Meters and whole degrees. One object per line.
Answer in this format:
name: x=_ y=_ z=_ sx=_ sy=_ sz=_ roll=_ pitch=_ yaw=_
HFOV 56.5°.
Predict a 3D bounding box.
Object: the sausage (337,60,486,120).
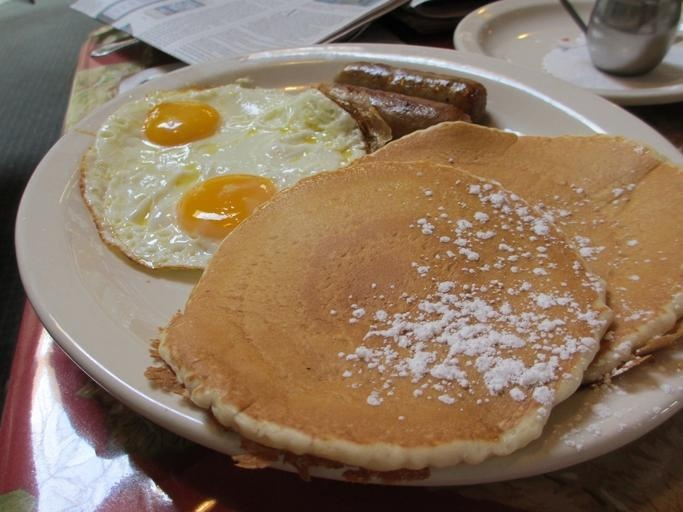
sausage: x=0.246 y=-0.588 z=2.180 sx=0.648 sy=0.137 sz=0.168 roll=12 pitch=37 yaw=17
